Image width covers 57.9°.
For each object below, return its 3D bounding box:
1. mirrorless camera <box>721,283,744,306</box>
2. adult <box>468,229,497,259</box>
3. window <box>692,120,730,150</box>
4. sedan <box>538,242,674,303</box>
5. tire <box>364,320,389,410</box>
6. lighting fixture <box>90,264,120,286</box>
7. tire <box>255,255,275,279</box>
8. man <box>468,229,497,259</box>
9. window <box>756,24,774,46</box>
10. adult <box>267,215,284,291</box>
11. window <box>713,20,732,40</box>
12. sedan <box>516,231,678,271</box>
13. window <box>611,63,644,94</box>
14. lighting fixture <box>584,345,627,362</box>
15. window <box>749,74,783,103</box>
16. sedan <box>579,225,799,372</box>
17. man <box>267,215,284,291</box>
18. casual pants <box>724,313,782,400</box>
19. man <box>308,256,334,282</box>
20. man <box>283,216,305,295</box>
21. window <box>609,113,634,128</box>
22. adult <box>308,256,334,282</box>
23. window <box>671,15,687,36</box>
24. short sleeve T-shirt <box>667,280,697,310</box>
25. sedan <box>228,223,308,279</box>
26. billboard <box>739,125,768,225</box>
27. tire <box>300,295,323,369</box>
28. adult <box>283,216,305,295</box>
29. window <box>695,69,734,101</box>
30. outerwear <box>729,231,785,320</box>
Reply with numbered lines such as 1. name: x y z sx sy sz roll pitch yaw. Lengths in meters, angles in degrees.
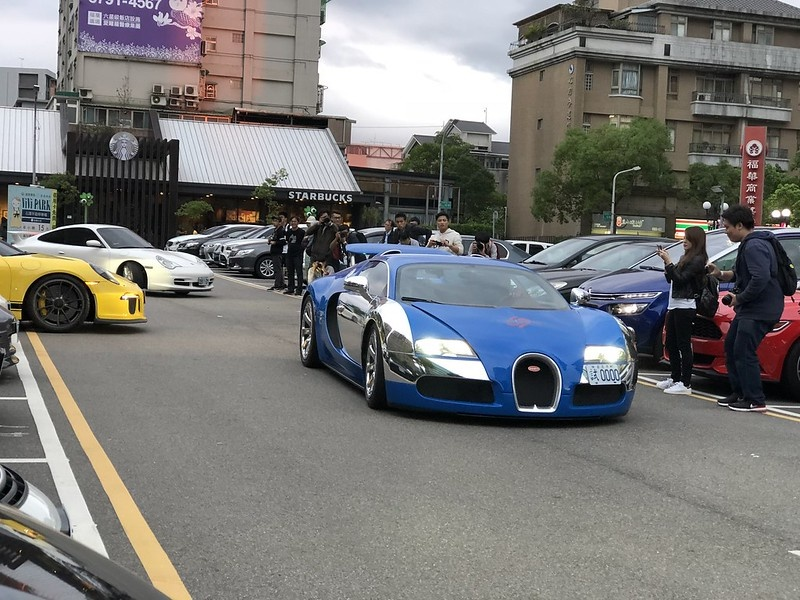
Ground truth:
1. mirrorless camera: 3.902 -0.047 8.394 0.203 0.228 0.078 -20 -7 -37
2. adult: 1.565 -0.967 13.623 0.540 0.400 0.863 14 2 2
3. window: 31.599 -17.054 73.937 2.690 2.355 0.338 1 -2 -12
4. sedan: 3.912 -0.685 13.548 2.793 1.125 1.329 -2 3 -22
5. tire: -0.225 0.653 7.303 0.180 0.619 0.615 2 44 -14
6. lighting fixture: -4.792 -0.433 11.771 0.472 0.126 0.255 39 -1 -42
7. tire: -4.979 -1.306 26.698 0.849 0.995 0.288 -3 3 -30
8. man: 1.565 -0.997 13.622 0.540 0.400 0.863 14 2 2
9. window: 37.794 -27.810 75.029 2.179 2.960 0.268 1 1 -8
10. adult: -3.739 -1.437 21.615 0.527 2.268 0.659 0 1 -36
11. window: 32.969 -27.963 74.210 1.890 2.553 0.231 0 3 -13
12. sedan: 3.845 -1.111 15.629 2.914 1.188 1.479 0 3 -16
13. window: 22.604 -22.434 72.431 2.645 3.195 0.226 -1 1 -3
14. lighting fixture: 1.999 0.524 7.073 0.544 0.150 0.124 0 5 -27
15. window: 37.565 -22.029 74.602 2.521 2.855 0.134 3 -4 -15
16. sedan: 4.535 -0.014 10.750 3.113 1.670 1.727 2 1 -11
17. man: -3.748 -1.446 21.634 0.531 2.262 0.603 -2 4 -33
18. casual pants: 3.995 0.676 8.387 0.479 0.990 0.355 6 6 42
19. man: -1.899 -0.742 17.443 0.597 0.386 0.838 7 -3 -20
20. man: -2.957 -1.267 20.240 0.598 2.249 0.530 3 7 15
21. window: 21.880 -18.100 72.063 2.017 1.199 0.738 2 4 -3
22. adult: -1.940 -0.732 17.456 0.597 0.386 0.838 7 -3 -20
23. window: 28.297 -28.080 73.430 1.897 2.686 0.175 -1 2 4
24. short sleeve T-shirt: 3.533 -0.079 9.061 0.265 0.332 0.282 4 -3 -12
25. sedan: -4.835 -1.868 27.968 3.595 1.864 1.836 1 3 -21
26. billboard: 23.046 -8.088 47.232 1.289 7.028 0.499 11 36 37
27. tire: -1.151 0.420 9.551 0.209 0.655 0.643 10 35 -21
28. adult: -2.957 -1.273 20.207 0.598 2.242 0.561 4 9 16
29. window: 32.031 -22.213 74.171 2.780 2.450 0.224 0 3 -7
30. outerwear: 4.101 -0.269 8.249 0.488 1.025 0.406 4 5 28
